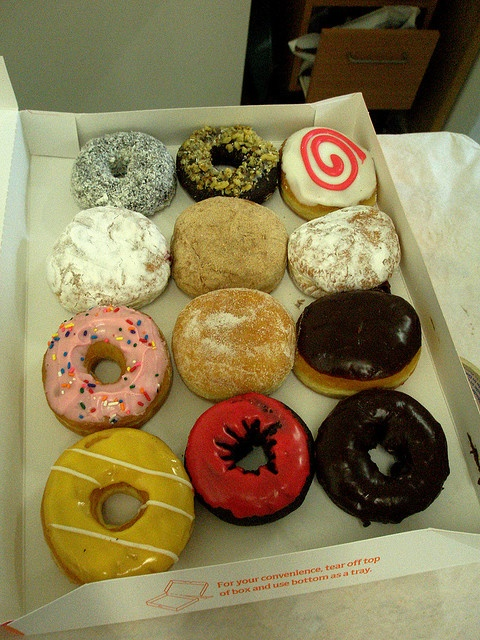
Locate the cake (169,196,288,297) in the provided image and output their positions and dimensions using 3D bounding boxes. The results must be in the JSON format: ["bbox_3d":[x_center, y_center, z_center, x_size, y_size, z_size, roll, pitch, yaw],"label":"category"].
[{"bbox_3d":[-0.028,-0.238,2.061,0.385,0.174,0.292,1,57,-4],"label":"cake"}]

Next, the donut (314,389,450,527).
[{"bbox_3d":[0.396,0.390,1.729,0.362,0.161,0.361,40,62,20],"label":"donut"}]

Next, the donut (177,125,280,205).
[{"bbox_3d":[-0.055,-0.591,2.263,0.314,0.114,0.336,21,57,11],"label":"donut"}]

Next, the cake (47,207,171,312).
[{"bbox_3d":[-0.426,-0.192,1.998,0.384,0.194,0.340,2,57,-3],"label":"cake"}]

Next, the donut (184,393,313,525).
[{"bbox_3d":[0.022,0.400,1.745,0.378,0.146,0.410,4,42,-2],"label":"donut"}]

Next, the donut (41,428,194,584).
[{"bbox_3d":[-0.315,0.475,1.596,0.381,0.064,0.387,-4,58,-7],"label":"donut"}]

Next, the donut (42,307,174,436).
[{"bbox_3d":[-0.413,0.150,1.848,0.379,0.147,0.430,4,46,-12],"label":"donut"}]

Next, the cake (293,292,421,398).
[{"bbox_3d":[0.364,0.078,1.900,0.376,0.231,0.307,9,56,2],"label":"cake"}]

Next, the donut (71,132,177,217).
[{"bbox_3d":[-0.425,-0.512,2.242,0.377,0.181,0.332,-7,58,-9],"label":"donut"}]
